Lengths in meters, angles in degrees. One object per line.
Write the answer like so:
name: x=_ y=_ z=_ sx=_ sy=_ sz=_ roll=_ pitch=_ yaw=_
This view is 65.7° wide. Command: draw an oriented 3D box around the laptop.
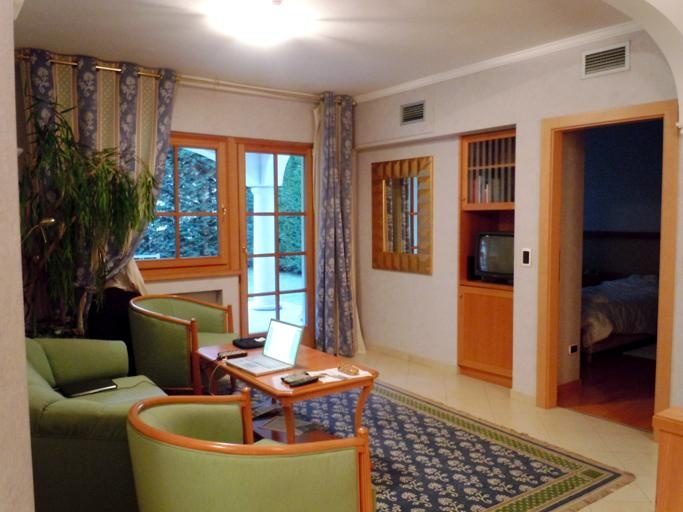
laptop: x=-0.521 y=0.625 z=3.660 sx=0.251 sy=0.370 sz=0.411 roll=18 pitch=-7 yaw=-31

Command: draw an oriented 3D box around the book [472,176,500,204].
book: x=1.373 y=-0.600 z=5.046 sx=0.225 sy=0.316 sz=0.314 roll=-2 pitch=4 yaw=-32
